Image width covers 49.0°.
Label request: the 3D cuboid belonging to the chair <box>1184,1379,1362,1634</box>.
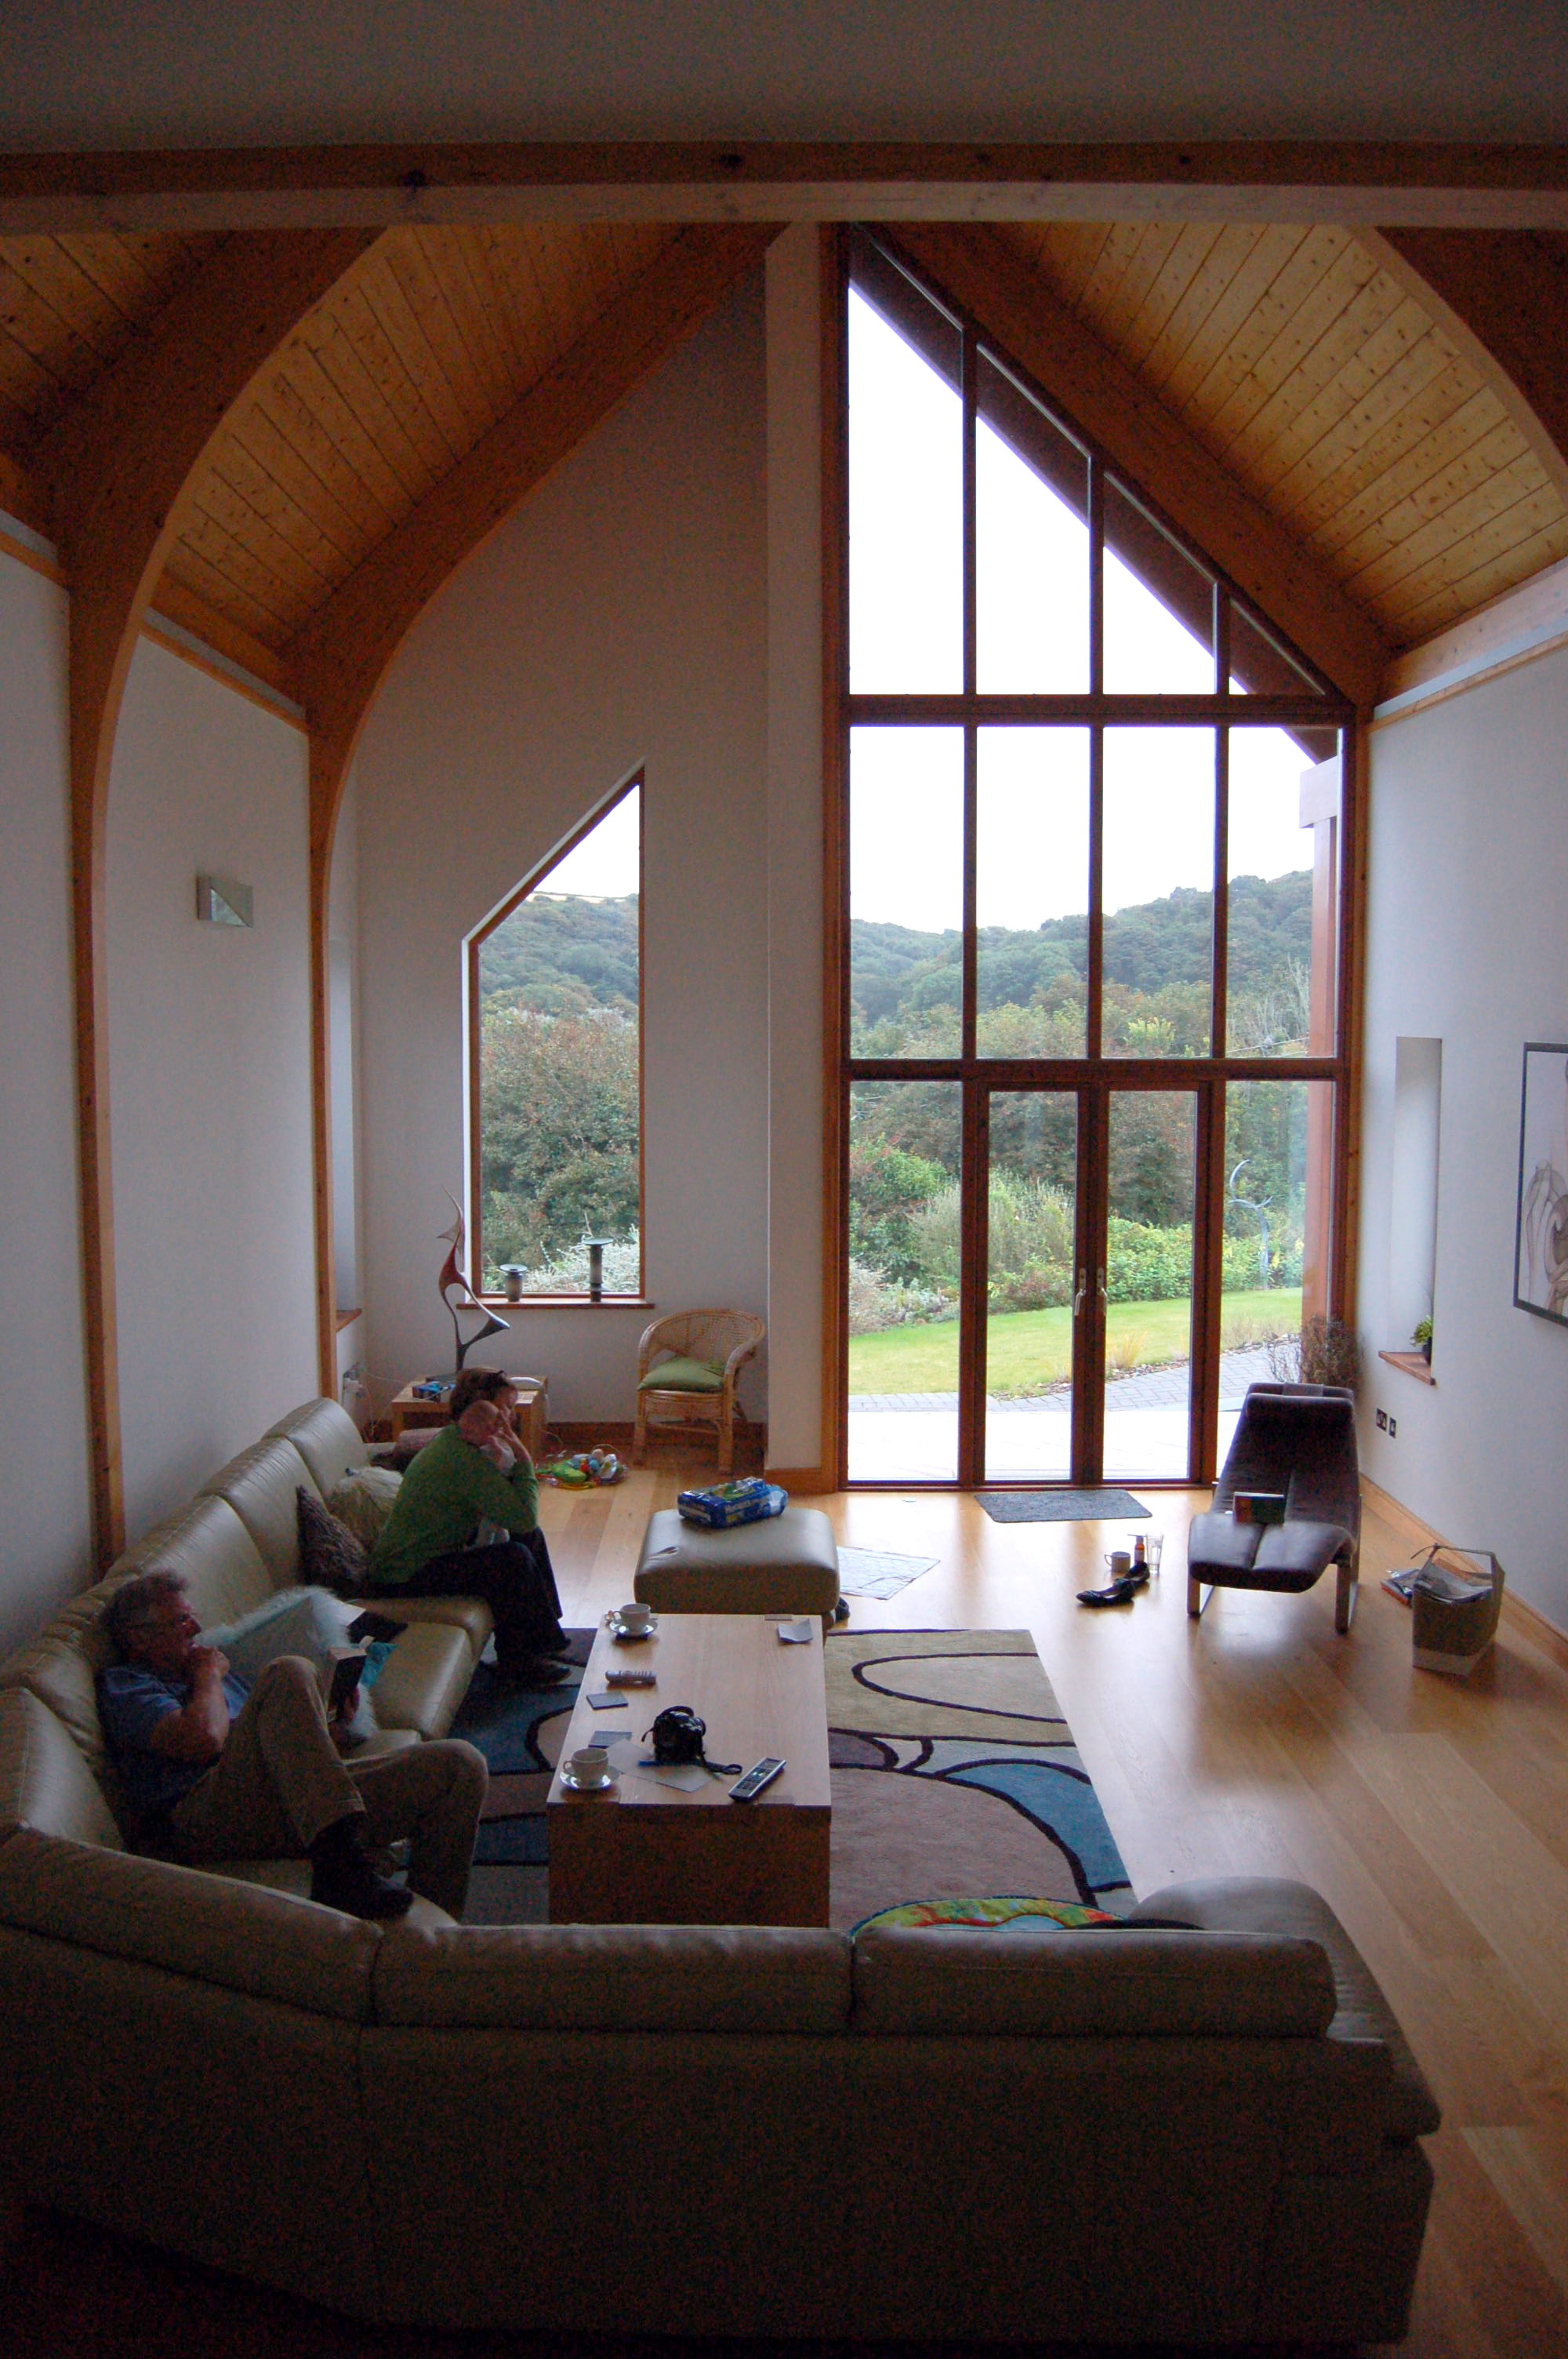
[{"bbox_3d":[1.932,1.330,6.784,0.590,0.827,1.212,1,4,25],"label":"chair"}]

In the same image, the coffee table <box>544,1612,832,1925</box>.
[{"bbox_3d":[-0.206,1.808,4.634,0.596,0.762,1.444,-1,-3,1],"label":"coffee table"}]

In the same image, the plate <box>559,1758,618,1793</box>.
[{"bbox_3d":[-0.461,1.369,4.008,0.073,0.070,0.093,1,-2,39],"label":"plate"}]

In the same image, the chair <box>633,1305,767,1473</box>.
[{"bbox_3d":[-0.422,1.048,8.754,0.605,0.768,0.575,4,6,24],"label":"chair"}]

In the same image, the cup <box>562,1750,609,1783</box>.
[{"bbox_3d":[-0.463,1.349,3.999,0.080,0.061,0.065,3,1,-34],"label":"cup"}]

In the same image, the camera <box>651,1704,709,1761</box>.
[{"bbox_3d":[-0.265,1.331,4.166,0.096,0.112,0.111,1,-6,4],"label":"camera"}]

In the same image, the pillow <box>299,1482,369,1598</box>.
[{"bbox_3d":[-1.430,1.148,5.434,0.084,0.295,0.300,-18,-22,12],"label":"pillow"}]

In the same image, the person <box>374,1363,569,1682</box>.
[{"bbox_3d":[-1.063,1.142,5.820,0.638,1.021,0.445,-1,6,-6],"label":"person"}]

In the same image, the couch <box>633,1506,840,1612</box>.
[{"bbox_3d":[-0.177,1.341,6.012,0.659,0.203,0.537,6,7,-4],"label":"couch"}]

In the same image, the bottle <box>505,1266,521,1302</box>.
[{"bbox_3d":[-1.430,0.561,9.095,0.081,0.172,0.189,4,7,-10],"label":"bottle"}]

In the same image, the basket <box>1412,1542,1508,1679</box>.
[{"bbox_3d":[2.379,1.538,6.132,0.261,0.385,0.390,9,7,29],"label":"basket"}]
